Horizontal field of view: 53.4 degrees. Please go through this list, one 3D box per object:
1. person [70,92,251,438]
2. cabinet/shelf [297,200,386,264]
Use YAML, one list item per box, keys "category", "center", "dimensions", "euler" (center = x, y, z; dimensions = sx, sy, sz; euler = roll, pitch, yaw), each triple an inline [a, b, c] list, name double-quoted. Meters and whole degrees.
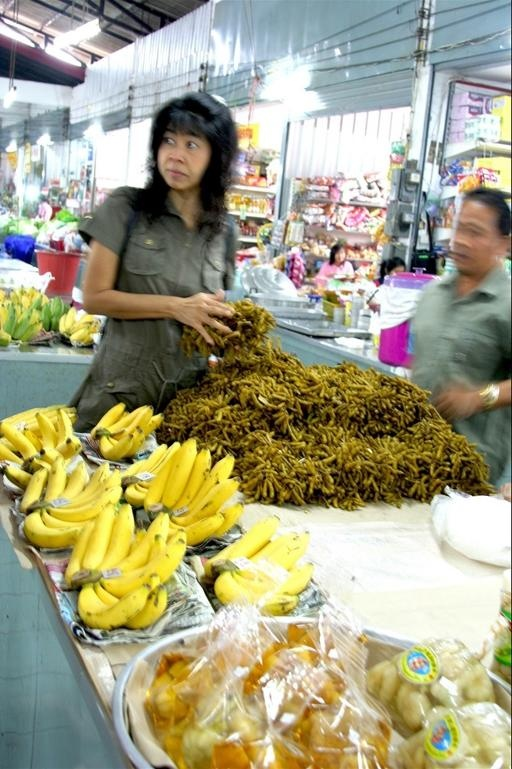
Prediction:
- category: "person"
  center: [-0.441, -0.352, 2.185]
  dimensions: [0.611, 1.504, 0.552]
  euler: [-9, 18, -35]
- category: "cabinet/shelf"
  center: [1.320, -2.400, 7.778]
  dimensions: [1.470, 1.311, 0.725]
  euler: [-8, 12, -16]
